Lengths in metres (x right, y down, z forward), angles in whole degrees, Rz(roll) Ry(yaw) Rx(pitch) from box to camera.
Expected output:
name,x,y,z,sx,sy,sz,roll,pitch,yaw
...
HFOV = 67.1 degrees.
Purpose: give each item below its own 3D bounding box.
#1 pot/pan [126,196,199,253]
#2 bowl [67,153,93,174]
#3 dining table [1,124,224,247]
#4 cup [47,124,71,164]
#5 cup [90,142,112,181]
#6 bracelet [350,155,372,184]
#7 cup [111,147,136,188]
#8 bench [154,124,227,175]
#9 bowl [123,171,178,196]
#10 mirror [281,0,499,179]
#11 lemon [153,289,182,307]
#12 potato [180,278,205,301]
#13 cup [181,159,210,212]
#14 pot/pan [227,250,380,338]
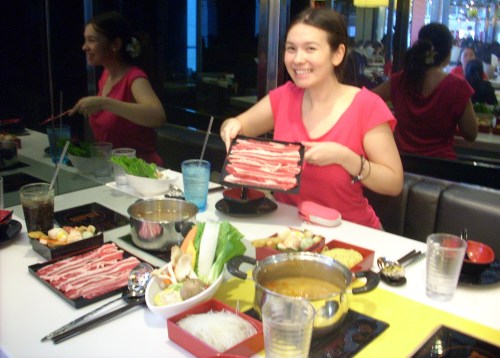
name,x,y,z,sx,sy,sz,roll,pitch,yaw
pot/pan,-0.383,0.194,1.685,0.309,0.122,0.274,-5,22,-33
bowl,-1.091,-0.099,2.421,0.125,0.096,0.132,4,9,-1
dining table,-1.079,-0.108,2.751,0.910,0.227,0.871,14,32,17
cup,-1.249,-0.231,2.466,0.140,0.226,0.142,3,10,0
cup,-0.961,-0.119,2.442,0.127,0.218,0.131,3,15,-1
bracelet,0.641,-0.057,2.172,0.042,0.153,0.122,3,-19,-2
cup,-0.808,-0.054,2.403,0.128,0.208,0.133,-1,5,0
bench,-0.532,-0.270,3.289,0.468,0.588,0.184,-1,26,14
bowl,-0.575,0.030,2.224,0.185,0.077,0.192,4,12,-1
mirror,1.045,-0.600,2.622,0.522,1.623,0.892,-45,43,-20
lemon,-0.272,0.396,1.248,0.088,0.041,0.053,-4,20,-12
potato,-0.195,0.363,1.253,0.064,0.022,0.067,-11,45,2
cup,-0.297,0.023,2.056,0.150,0.247,0.155,3,17,-1
pot/pan,0.174,0.278,1.221,0.379,0.150,0.260,8,15,23
